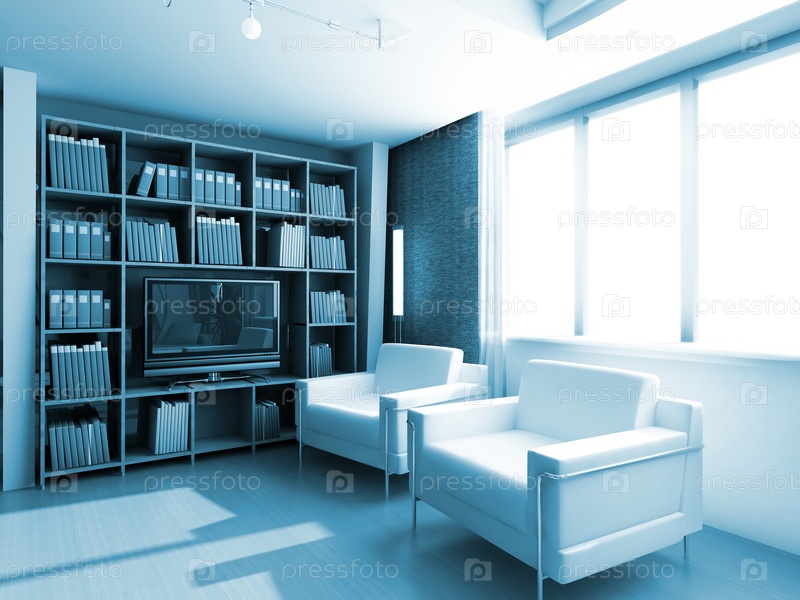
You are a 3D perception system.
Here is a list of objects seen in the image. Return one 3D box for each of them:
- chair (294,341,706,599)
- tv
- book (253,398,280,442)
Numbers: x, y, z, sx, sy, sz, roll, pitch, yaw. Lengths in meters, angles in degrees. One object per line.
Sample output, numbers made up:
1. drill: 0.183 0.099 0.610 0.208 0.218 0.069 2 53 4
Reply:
1. chair: 0.576 0.923 3.911 1.115 1.099 2.327 -8 12 -40
2. tv: -1.650 0.268 5.056 1.051 0.692 0.138 -2 3 -34
3. book: -1.199 1.066 5.342 0.304 0.385 0.304 0 2 -30
